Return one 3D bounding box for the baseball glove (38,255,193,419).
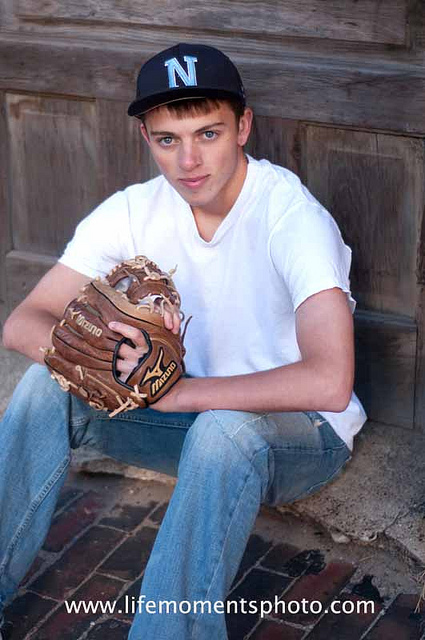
[{"bbox_3d":[-0.250,0.059,2.100,0.372,0.470,0.233,37,5,6],"label":"baseball glove"}]

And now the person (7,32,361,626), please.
[{"bbox_3d":[-0.128,0.013,2.060,1.116,1.652,0.833,11,11,24],"label":"person"}]
